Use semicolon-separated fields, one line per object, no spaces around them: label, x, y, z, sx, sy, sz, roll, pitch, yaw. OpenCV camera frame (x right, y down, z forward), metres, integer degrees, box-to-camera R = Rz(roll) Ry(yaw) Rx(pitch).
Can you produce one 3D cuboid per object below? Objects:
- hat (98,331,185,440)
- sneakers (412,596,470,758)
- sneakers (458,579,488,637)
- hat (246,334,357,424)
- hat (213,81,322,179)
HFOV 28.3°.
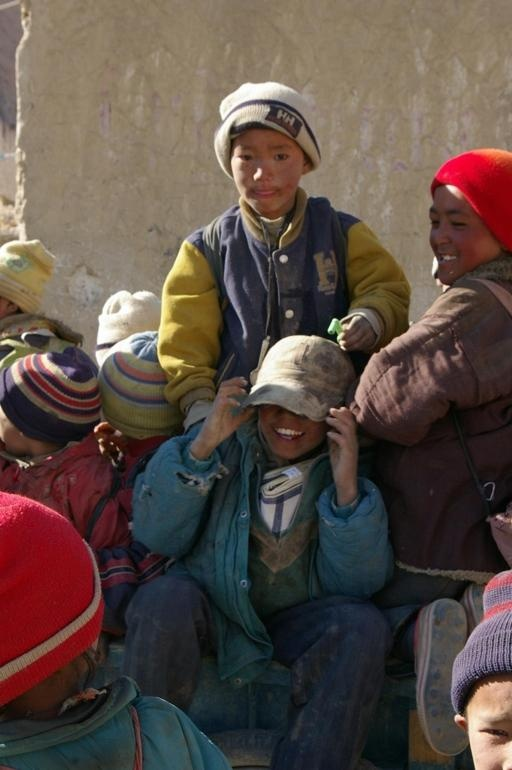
hat;-0.458;0.031;3.692;0.354;0.338;0.339;10;39;-21
sneakers;0.444;0.749;2.611;0.148;0.379;0.154;7;-22;-9
sneakers;0.576;0.574;2.710;0.076;0.184;0.062;7;-31;10
hat;0.154;-0.052;3.085;0.314;0.209;0.445;13;14;26
hat;0.036;-0.854;3.460;0.318;0.291;0.404;2;-15;14
